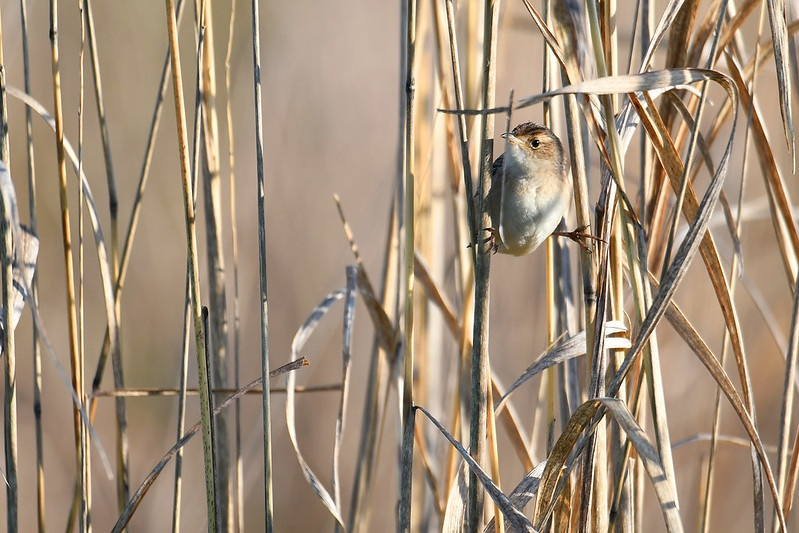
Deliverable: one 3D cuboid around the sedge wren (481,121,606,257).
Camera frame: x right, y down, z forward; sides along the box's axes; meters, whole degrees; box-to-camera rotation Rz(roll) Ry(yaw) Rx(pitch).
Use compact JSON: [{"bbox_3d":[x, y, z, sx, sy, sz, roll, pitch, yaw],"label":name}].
[{"bbox_3d":[0.570,-0.361,5.688,0.418,0.585,0.701,3,-58,3],"label":"sedge wren"}]
